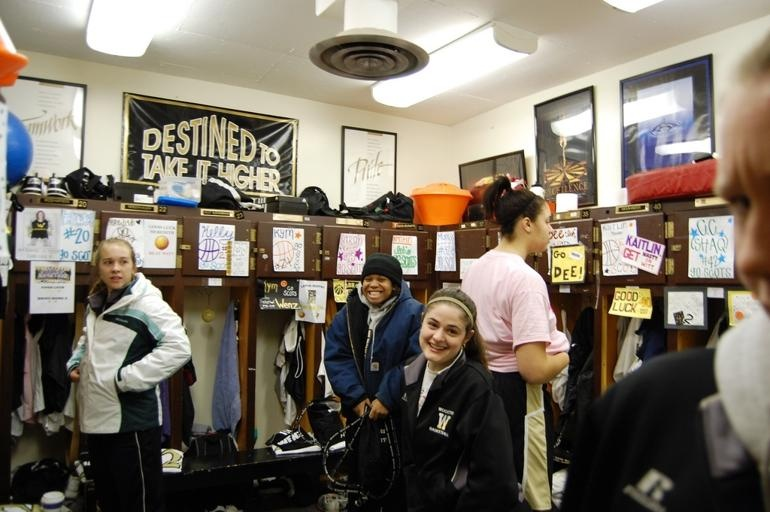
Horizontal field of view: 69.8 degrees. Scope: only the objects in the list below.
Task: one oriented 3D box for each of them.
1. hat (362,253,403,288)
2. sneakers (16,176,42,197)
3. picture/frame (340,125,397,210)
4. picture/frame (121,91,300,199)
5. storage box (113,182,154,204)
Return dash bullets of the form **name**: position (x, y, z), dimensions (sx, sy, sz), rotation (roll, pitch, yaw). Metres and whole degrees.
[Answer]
- **hat**: position (0.004, 0.069, 3.031), dimensions (0.175, 0.151, 0.192), rotation (0, -18, 32)
- **sneakers**: position (-2.573, -0.518, 4.024), dimensions (0.167, 0.170, 0.445), rotation (0, 1, -33)
- **picture/frame**: position (-0.195, -0.904, 5.703), dimensions (0.891, 1.183, 0.041), rotation (-3, 8, -30)
- **picture/frame**: position (-1.622, -0.998, 4.956), dimensions (1.112, 0.664, 0.014), rotation (1, 2, -31)
- **storage box**: position (-1.916, -0.464, 4.175), dimensions (0.247, 0.122, 0.179), rotation (2, -5, -36)
